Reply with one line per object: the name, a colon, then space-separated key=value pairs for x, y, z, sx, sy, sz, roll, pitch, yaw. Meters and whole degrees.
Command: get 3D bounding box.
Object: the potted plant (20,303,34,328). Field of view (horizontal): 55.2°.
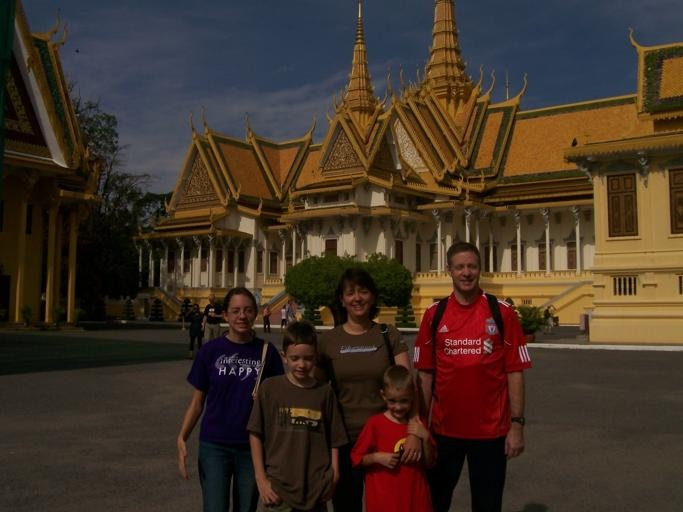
potted plant: x=-12.168 y=2.301 z=25.096 sx=0.412 sy=0.765 sz=0.659 roll=2 pitch=-5 yaw=-26
